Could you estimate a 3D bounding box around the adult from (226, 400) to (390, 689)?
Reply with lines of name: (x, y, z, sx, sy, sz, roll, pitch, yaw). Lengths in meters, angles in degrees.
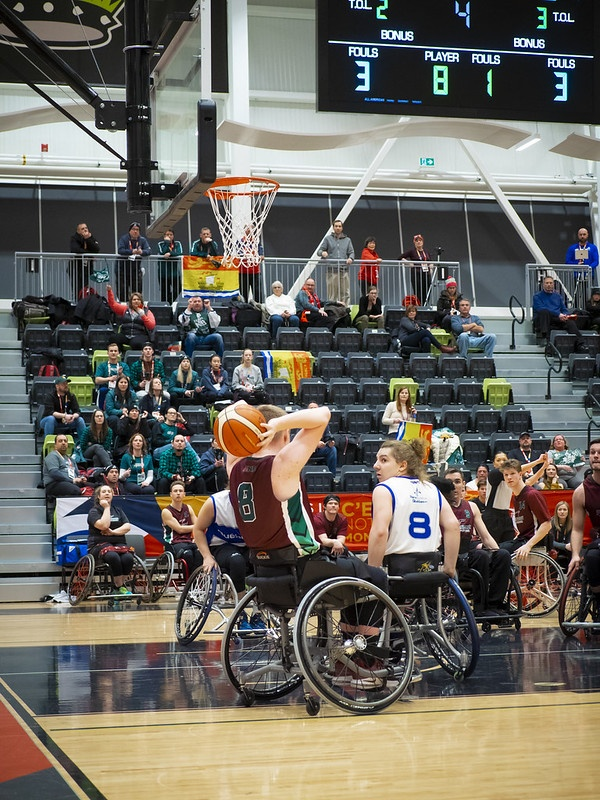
adult: (0.060, 0.713, 6.044, 0.847, 1.488, 0.741, -10, 12, -37)

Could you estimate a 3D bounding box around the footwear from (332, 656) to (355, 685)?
footwear: (0.218, 1.444, 5.990, 0.126, 0.154, 0.049, 5, 19, -6)

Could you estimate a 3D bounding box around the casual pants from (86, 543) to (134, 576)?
casual pants: (-1.835, 1.537, 11.163, 0.294, 0.353, 0.489, 0, 7, -31)

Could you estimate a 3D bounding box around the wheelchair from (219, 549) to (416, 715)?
wheelchair: (0.115, 1.066, 6.049, 0.875, 1.072, 0.819, 4, -10, -43)

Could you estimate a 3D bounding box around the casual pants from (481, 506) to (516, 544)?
casual pants: (1.660, 1.066, 9.622, 0.352, 0.432, 0.196, 0, 1, -36)

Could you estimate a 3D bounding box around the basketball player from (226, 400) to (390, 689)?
basketball player: (0.091, 0.765, 5.968, 0.805, 1.414, 0.744, -3, 1, -35)
